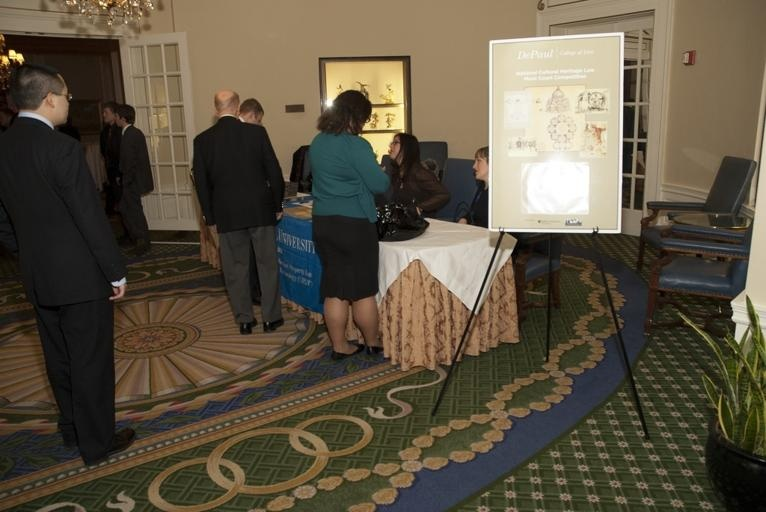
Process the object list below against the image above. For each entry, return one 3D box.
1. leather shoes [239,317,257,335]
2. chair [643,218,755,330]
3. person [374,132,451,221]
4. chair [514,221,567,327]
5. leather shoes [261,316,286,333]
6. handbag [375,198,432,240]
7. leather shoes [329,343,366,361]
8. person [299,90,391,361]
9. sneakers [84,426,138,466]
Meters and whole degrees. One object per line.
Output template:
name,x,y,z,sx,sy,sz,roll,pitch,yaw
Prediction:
leather shoes,-1.275,0.660,4.791,0.073,0.095,0.218,2,19,11
chair,2.917,0.065,4.496,0.843,1.113,0.738,9,12,37
person,0.337,-0.824,5.626,0.772,1.548,0.923,-3,8,-4
chair,1.464,0.148,4.679,0.425,0.978,1.423,6,16,20
leather shoes,-1.041,0.655,4.848,0.080,0.088,0.201,8,17,33
handbag,0.151,-0.321,4.007,0.308,0.122,0.319,-13,21,-36
leather shoes,-0.294,0.787,4.253,0.291,0.089,0.107,-12,19,-30
person,-0.252,-0.181,3.950,0.596,2.155,0.340,-2,15,-7
sneakers,-1.816,1.257,3.358,0.108,0.130,0.304,16,30,34
